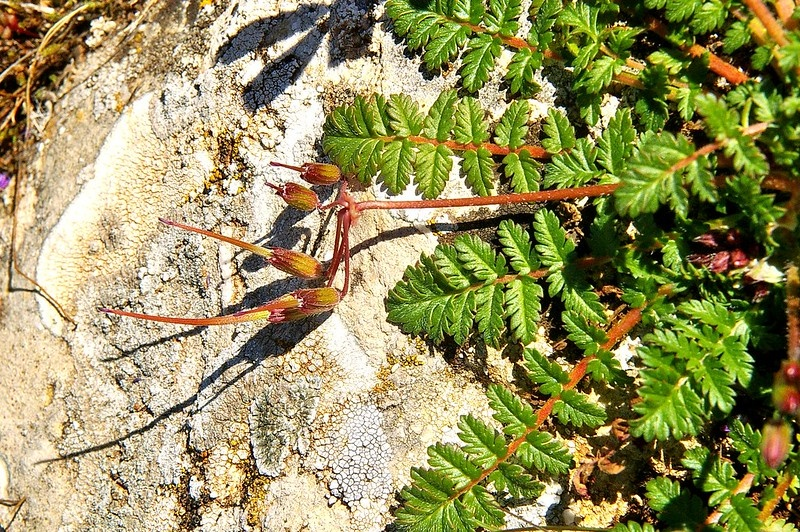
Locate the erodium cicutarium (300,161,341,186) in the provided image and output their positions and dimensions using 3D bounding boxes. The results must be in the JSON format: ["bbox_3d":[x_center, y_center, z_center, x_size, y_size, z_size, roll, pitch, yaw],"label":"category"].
[{"bbox_3d":[-0.556,-0.676,6.547,0.224,0.099,0.169,3,88,-14],"label":"erodium cicutarium"}]

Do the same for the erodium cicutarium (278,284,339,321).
[{"bbox_3d":[-0.640,0.282,6.389,0.347,0.166,0.226,-17,76,-14],"label":"erodium cicutarium"}]

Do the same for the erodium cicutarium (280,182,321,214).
[{"bbox_3d":[-0.711,-0.494,6.520,0.274,0.110,0.167,24,81,-23],"label":"erodium cicutarium"}]
